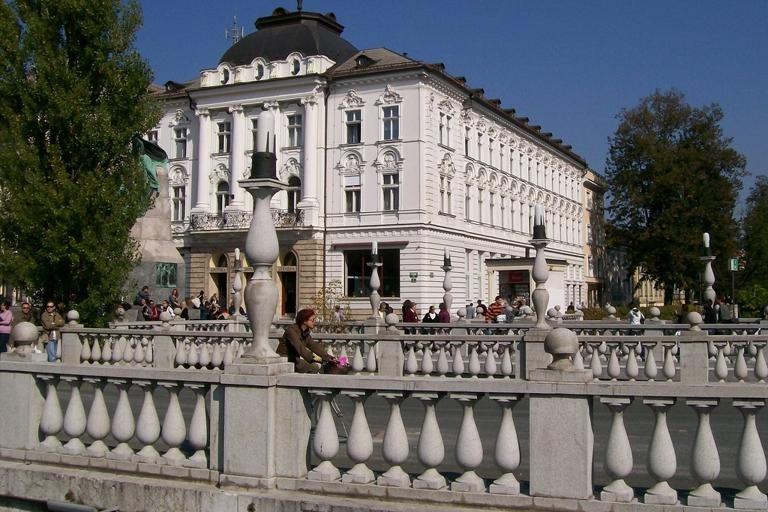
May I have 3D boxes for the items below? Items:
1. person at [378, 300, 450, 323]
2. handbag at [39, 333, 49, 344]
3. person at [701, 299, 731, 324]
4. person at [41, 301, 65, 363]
[{"bbox_3d":[1.488,2.291,55.481,1.481,0.620,1.543,-1,-9,14],"label":"person"},{"bbox_3d":[-12.361,3.013,51.042,0.308,0.445,0.156,-2,-1,8],"label":"handbag"},{"bbox_3d":[13.378,2.282,56.337,0.528,0.731,1.003,-4,-5,33],"label":"person"},{"bbox_3d":[-11.944,2.901,50.693,0.725,2.370,0.741,-4,0,-24],"label":"person"}]
